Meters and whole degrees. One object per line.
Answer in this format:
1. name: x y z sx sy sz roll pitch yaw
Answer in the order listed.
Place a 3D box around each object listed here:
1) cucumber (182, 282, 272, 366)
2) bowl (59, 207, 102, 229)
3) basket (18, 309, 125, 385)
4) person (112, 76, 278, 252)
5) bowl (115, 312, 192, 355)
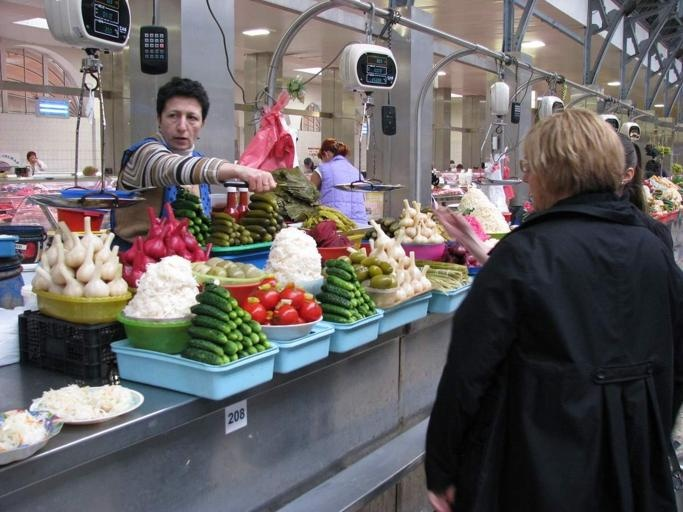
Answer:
1. cucumber: -0.348 0.179 1.612 0.219 0.247 0.273 -1 10 -42
2. bowl: -1.631 -0.239 3.077 0.192 0.123 0.260 1 8 -10
3. basket: -0.928 0.299 1.636 0.376 0.188 0.146 2 11 4
4. person: -0.700 -0.488 2.451 0.576 1.034 0.808 11 17 38
5. bowl: -0.600 0.251 1.581 0.243 0.121 0.075 2 11 4
